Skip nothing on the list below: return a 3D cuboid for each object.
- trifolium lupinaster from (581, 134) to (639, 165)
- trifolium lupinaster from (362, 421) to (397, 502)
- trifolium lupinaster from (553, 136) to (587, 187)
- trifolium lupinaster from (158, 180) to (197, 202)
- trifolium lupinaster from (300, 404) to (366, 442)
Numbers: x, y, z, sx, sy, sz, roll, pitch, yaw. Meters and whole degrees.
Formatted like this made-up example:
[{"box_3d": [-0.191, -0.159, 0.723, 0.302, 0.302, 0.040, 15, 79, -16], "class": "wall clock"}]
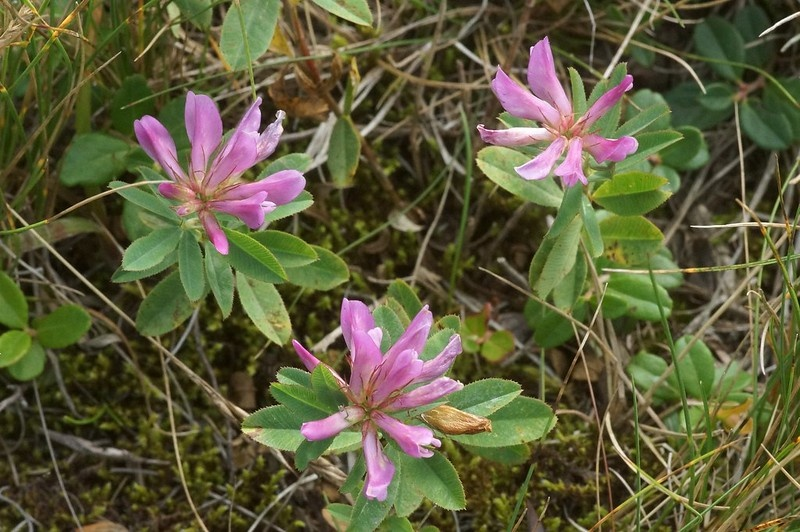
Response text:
[{"box_3d": [0.800, -0.467, 2.828, 0.102, 0.080, 0.176, -17, 36, -43], "class": "trifolium lupinaster"}, {"box_3d": [-0.075, 0.699, 2.619, 0.102, 0.097, 0.243, 8, 46, -7], "class": "trifolium lupinaster"}, {"box_3d": [0.659, -0.397, 2.864, 0.111, 0.088, 0.198, 21, 42, -10], "class": "trifolium lupinaster"}, {"box_3d": [-0.831, -0.268, 2.761, 0.117, 0.061, 0.059, 8, 24, -37], "class": "trifolium lupinaster"}, {"box_3d": [-0.238, 0.559, 2.621, 0.074, 0.090, 0.272, 52, 40, 4], "class": "trifolium lupinaster"}]
